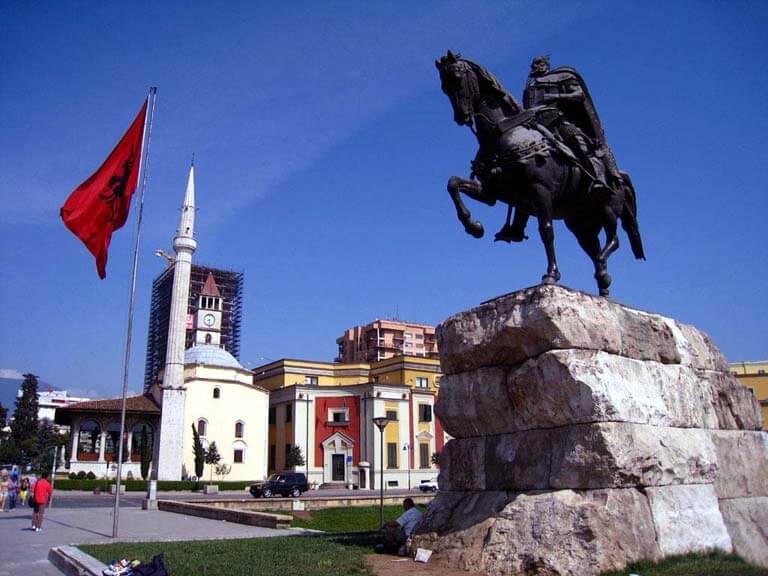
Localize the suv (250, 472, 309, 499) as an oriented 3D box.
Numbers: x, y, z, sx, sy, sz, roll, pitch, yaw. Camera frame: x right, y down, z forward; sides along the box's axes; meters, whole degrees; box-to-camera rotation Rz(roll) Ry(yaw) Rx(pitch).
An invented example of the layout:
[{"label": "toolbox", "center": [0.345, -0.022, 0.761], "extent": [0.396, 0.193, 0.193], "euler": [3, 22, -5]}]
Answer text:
[{"label": "suv", "center": [-5.756, 11.039, 38.844], "extent": [2.608, 1.310, 1.627], "euler": [20, -31, -30]}]

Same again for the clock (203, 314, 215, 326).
[{"label": "clock", "center": [-21.193, 3.925, 86.543], "extent": [1.825, 1.655, 0.280], "euler": [-2, -7, -45]}]

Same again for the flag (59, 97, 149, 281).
[{"label": "flag", "center": [-7.181, -2.538, 18.567], "extent": [2.103, 4.677, 0.843], "euler": [-4, -6, -26]}]

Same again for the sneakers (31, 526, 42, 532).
[{"label": "sneakers", "center": [-9.111, 6.530, 18.816], "extent": [0.388, 0.179, 0.138], "euler": [-17, -19, 42]}]
